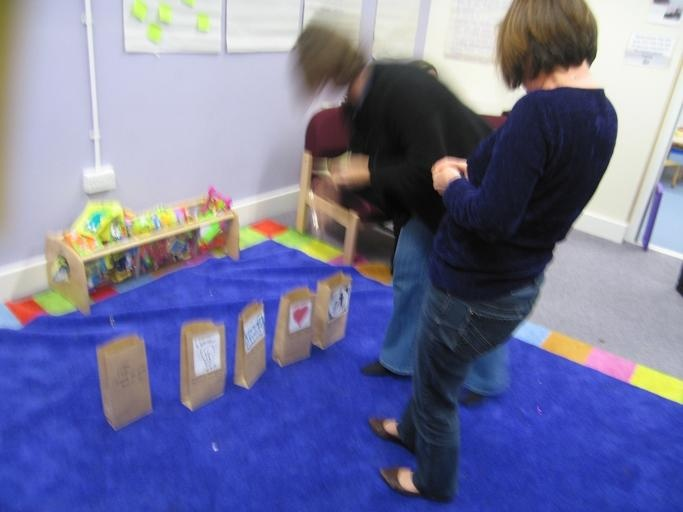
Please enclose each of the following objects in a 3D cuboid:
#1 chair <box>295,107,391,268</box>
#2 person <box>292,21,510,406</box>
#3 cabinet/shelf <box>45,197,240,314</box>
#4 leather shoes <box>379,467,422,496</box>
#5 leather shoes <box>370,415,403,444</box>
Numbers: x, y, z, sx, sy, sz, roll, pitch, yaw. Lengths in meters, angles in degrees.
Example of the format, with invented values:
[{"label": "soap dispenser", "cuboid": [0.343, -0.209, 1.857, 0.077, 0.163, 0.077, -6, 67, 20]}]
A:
[{"label": "chair", "cuboid": [0.014, -0.216, 1.457, 0.258, 0.398, 0.290, 1, 38, -10]}, {"label": "person", "cuboid": [0.202, -0.102, 1.449, 0.573, 1.154, 0.469, -4, 10, -6]}, {"label": "cabinet/shelf", "cuboid": [-1.150, -0.063, 2.772, 0.582, 0.577, 1.083, 18, 29, 39]}, {"label": "leather shoes", "cuboid": [0.230, 0.868, 1.876, 0.142, 0.042, 0.074, 24, 25, -12]}, {"label": "leather shoes", "cuboid": [0.182, 0.739, 2.098, 0.151, 0.050, 0.065, 33, 27, 6]}]
